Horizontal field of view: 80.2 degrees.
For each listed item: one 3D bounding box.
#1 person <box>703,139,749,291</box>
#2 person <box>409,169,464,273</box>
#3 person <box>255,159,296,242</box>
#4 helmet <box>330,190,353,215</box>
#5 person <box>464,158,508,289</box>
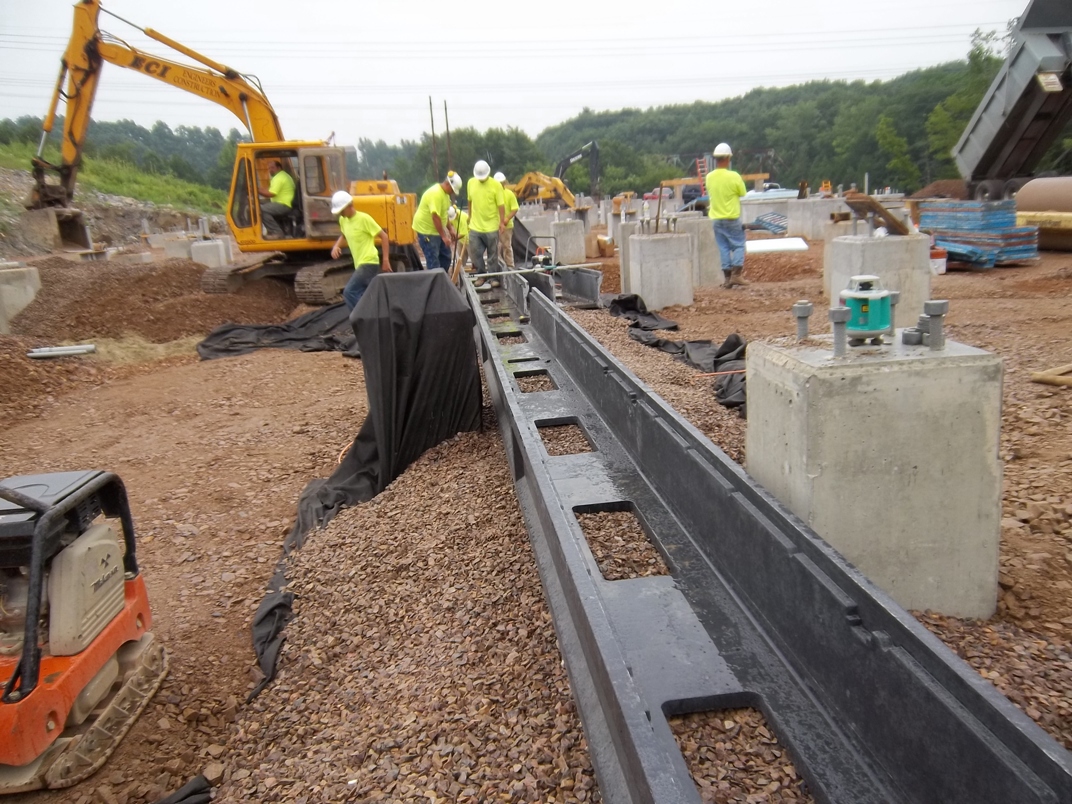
[{"bbox_3d":[3.509,-3.489,11.799,0.658,2.618,1.249,3,16,19],"label":"person"},{"bbox_3d":[-1.792,-3.328,11.560,0.868,1.769,1.514,-5,16,-9],"label":"person"},{"bbox_3d":[-5.440,-4.267,13.190,0.872,1.498,0.784,31,45,8],"label":"person"},{"bbox_3d":[-2.917,-3.050,9.544,0.261,0.295,0.601,-7,16,-17],"label":"helmet"},{"bbox_3d":[-0.916,-3.392,11.459,0.673,2.001,1.262,-4,16,-5],"label":"person"}]
